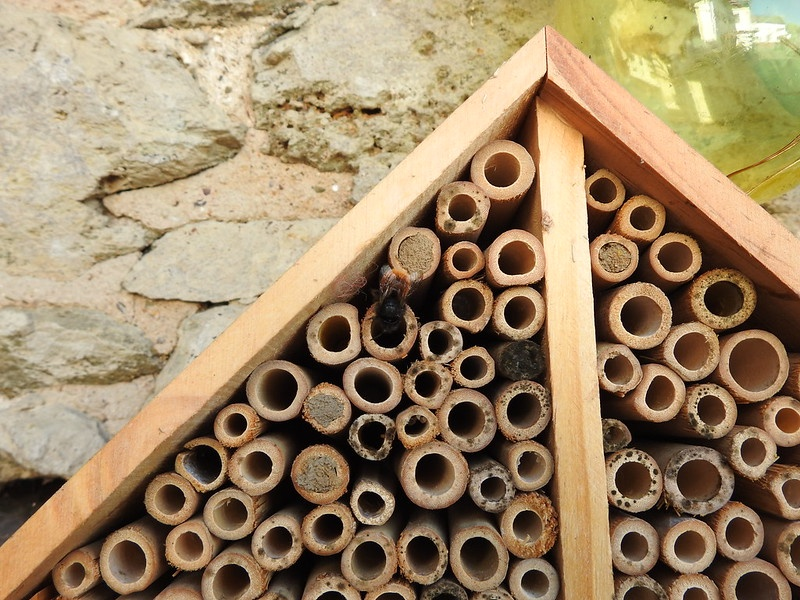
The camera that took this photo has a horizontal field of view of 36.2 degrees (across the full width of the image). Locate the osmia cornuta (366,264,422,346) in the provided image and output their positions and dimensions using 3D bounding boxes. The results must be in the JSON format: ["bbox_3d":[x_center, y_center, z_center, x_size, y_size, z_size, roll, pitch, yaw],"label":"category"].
[{"bbox_3d":[-0.018,0.020,2.816,0.175,0.239,0.080,-31,76,-10],"label":"osmia cornuta"}]
